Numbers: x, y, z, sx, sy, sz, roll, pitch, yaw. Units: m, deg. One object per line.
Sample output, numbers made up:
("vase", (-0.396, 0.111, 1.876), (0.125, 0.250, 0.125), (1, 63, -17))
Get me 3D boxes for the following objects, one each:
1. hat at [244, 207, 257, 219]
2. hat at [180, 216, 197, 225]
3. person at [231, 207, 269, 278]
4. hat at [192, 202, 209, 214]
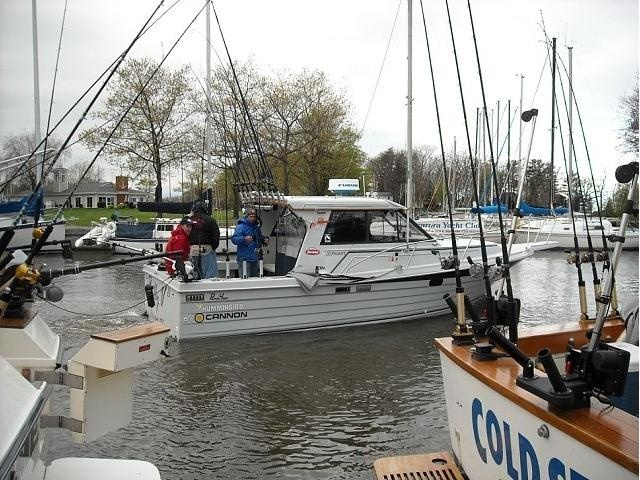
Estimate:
("hat", (-1.157, -0.437, 9.234), (0.135, 0.185, 0.180), (13, -21, -7))
("hat", (-2.074, -0.320, 8.783), (0.168, 0.197, 0.219), (1, -6, -32))
("person", (-1.124, 0.204, 9.364), (0.539, 1.427, 0.477), (-11, 21, -30))
("hat", (-2.067, -0.540, 9.572), (0.200, 0.099, 0.250), (-2, 10, -2))
